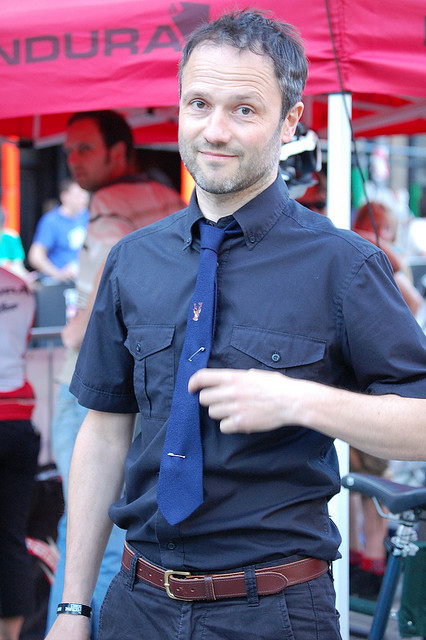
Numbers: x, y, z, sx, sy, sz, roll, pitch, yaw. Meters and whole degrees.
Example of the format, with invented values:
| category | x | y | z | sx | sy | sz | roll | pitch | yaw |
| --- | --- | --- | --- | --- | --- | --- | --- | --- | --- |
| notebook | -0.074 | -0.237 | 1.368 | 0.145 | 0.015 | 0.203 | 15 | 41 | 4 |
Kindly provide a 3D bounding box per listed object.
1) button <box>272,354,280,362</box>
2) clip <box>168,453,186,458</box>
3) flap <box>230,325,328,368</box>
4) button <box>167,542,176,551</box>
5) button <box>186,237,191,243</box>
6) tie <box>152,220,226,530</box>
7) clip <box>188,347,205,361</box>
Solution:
| category | x | y | z | sx | sy | sz | roll | pitch | yaw |
| --- | --- | --- | --- | --- | --- | --- | --- | --- | --- |
| button | 0.128 | 0.077 | 1.472 | 0.015 | 0.014 | 0.005 | -2 | -4 | 4 |
| clip | -0.068 | 0.264 | 1.418 | 0.026 | 0.008 | 0.004 | 11 | 9 | 6 |
| flap | 0.130 | 0.056 | 1.470 | 0.187 | 0.083 | 0.017 | 1 | 7 | 12 |
| button | -0.084 | 0.461 | 1.484 | 0.014 | 0.013 | 0.003 | 3 | 3 | 19 |
| button | -0.053 | -0.175 | 1.612 | 0.007 | 0.009 | 0.003 | 3 | -1 | 30 |
| tie | -0.049 | 0.106 | 1.503 | 0.160 | 0.615 | 0.285 | -1 | 7 | 0 |
| clip | -0.032 | 0.068 | 1.451 | 0.010 | 0.039 | 0.016 | 47 | -5 | -40 |
